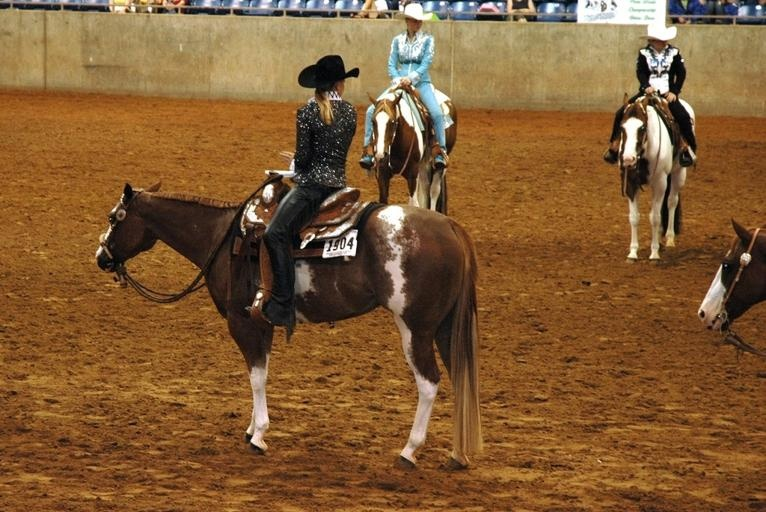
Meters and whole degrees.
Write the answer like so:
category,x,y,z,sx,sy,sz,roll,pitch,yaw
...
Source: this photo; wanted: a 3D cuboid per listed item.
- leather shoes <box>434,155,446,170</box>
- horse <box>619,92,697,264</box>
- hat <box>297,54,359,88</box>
category,x,y,z,sx,sy,sz,roll,pitch,yaw
leather shoes,1.041,-1.695,23.065,0.209,0.085,0.239,2,42,1
horse,4.793,-1.400,22.672,1.117,2.826,2.006,6,10,16
hat,-0.844,-2.454,17.335,0.642,0.225,0.543,8,43,31
